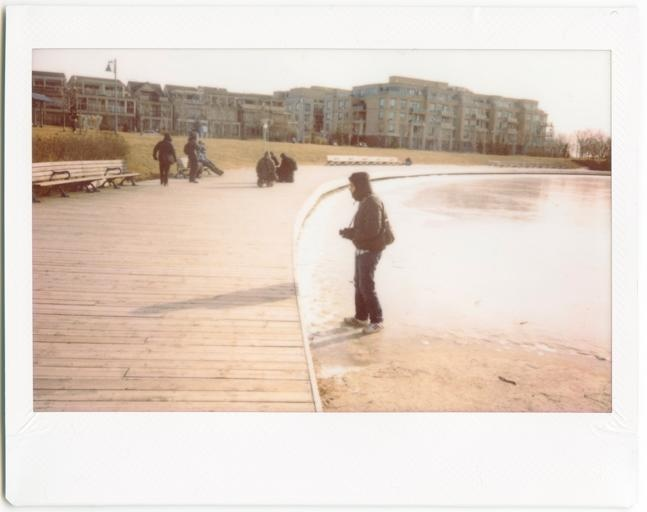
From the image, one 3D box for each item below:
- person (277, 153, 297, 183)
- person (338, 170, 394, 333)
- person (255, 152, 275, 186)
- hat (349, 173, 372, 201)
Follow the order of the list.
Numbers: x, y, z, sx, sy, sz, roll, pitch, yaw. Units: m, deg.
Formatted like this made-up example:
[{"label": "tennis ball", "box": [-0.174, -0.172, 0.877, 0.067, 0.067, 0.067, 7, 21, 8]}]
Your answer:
[{"label": "person", "box": [-1.427, -3.393, 21.078, 0.676, 1.087, 0.573, 3, 12, 9]}, {"label": "person", "box": [0.654, 0.041, 8.256, 0.728, 2.568, 1.089, 2, 12, 5]}, {"label": "person", "box": [-1.986, -3.001, 18.942, 0.624, 1.159, 0.866, -1, 12, -8]}, {"label": "hat", "box": [0.562, -1.064, 8.157, 0.283, 0.400, 0.389, -2, 11, -19]}]
